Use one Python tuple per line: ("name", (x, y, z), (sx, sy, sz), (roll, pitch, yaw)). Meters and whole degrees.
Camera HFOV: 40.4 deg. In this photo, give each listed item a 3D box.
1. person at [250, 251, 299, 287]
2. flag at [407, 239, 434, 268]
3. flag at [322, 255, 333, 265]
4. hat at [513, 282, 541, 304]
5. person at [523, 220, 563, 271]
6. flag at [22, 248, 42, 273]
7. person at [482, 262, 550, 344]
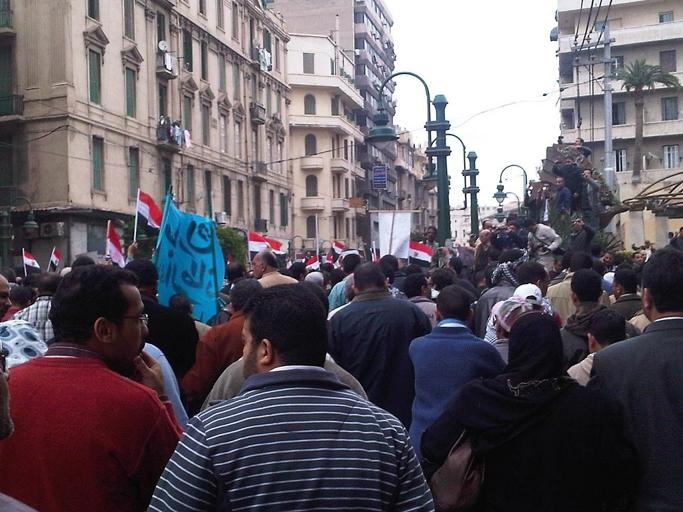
("person", (-0.721, 0.173, 9.292), (0.355, 0.452, 0.800), (0, 3, 12))
("flag", (1.286, -0.036, 15.084), (0.418, 0.431, 0.052), (3, 5, -8))
("flag", (-0.401, 0.120, 27.530), (0.409, 0.233, 0.613), (-2, 4, 3))
("hat", (1.470, 0.281, 7.311), (0.132, 0.194, 0.175), (10, -21, 27))
("person", (2.968, -0.151, 13.709), (0.277, 0.352, 0.809), (-15, 28, -8))
("flag", (-7.789, 0.088, 23.292), (0.611, 0.882, 0.100), (1, -6, -32))
("person", (1.491, 0.400, 7.905), (0.380, 0.753, 0.638), (-3, 7, -33))
